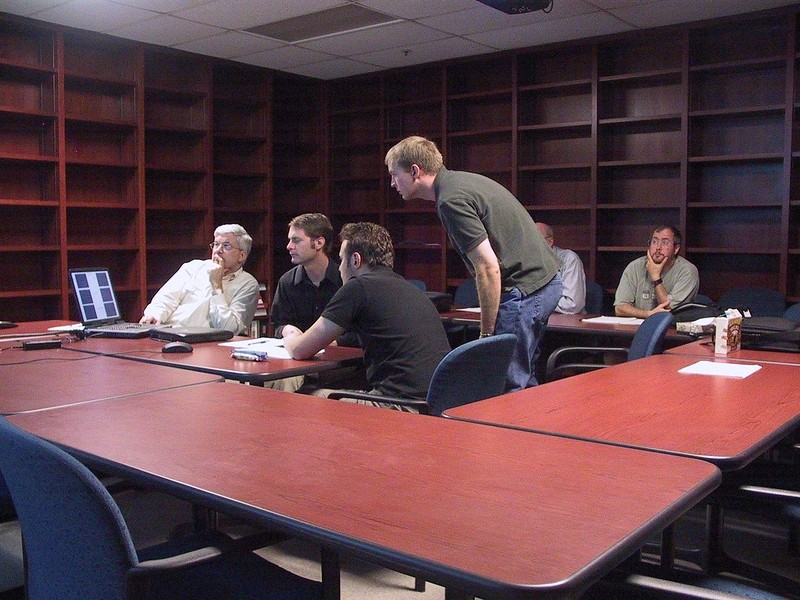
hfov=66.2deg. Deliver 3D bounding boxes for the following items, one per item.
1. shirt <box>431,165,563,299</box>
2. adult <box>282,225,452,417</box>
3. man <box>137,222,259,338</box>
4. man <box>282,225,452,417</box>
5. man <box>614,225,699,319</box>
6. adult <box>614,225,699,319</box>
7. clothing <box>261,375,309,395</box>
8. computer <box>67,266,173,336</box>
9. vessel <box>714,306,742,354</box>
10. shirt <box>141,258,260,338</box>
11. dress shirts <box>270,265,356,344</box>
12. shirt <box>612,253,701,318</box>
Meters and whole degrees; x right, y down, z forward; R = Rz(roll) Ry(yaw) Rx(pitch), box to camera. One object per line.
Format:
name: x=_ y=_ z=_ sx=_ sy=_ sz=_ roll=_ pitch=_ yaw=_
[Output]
shirt: x=0.476 y=-0.304 z=2.918 sx=0.588 sy=0.565 sz=0.250 roll=-2 pitch=6 yaw=0
adult: x=-0.200 y=0.139 z=2.945 sx=0.821 sy=1.002 sz=0.540 roll=3 pitch=18 yaw=16
man: x=-1.220 y=-0.044 z=3.805 sx=0.735 sy=0.800 sz=0.722 roll=7 pitch=13 yaw=-31
man: x=-0.196 y=0.163 z=2.932 sx=0.839 sy=1.038 sz=0.581 roll=1 pitch=12 yaw=13
man: x=2.013 y=-0.194 z=4.872 sx=0.599 sy=0.752 sz=0.563 roll=-10 pitch=16 yaw=-42
adult: x=2.045 y=-0.196 z=4.879 sx=0.556 sy=0.756 sz=0.589 roll=-6 pitch=13 yaw=-28
clothing: x=-0.601 y=0.452 z=3.310 sx=0.181 sy=0.072 sz=0.283 roll=-1 pitch=-1 yaw=30
computer: x=-1.565 y=-0.018 z=3.491 sx=0.448 sy=0.358 sz=0.435 roll=3 pitch=4 yaw=9
vessel: x=1.492 y=0.149 z=2.805 sx=0.072 sy=0.180 sz=0.197 roll=5 pitch=4 yaw=38
shirt: x=-1.244 y=-0.013 z=3.968 sx=0.577 sy=0.217 sz=0.572 roll=12 pitch=34 yaw=34
dress shirts: x=-0.498 y=0.026 z=3.762 sx=0.552 sy=0.493 sz=0.370 roll=-3 pitch=10 yaw=-19
shirt: x=2.035 y=-0.036 z=4.943 sx=0.568 sy=0.613 sz=0.368 roll=11 pitch=23 yaw=36
